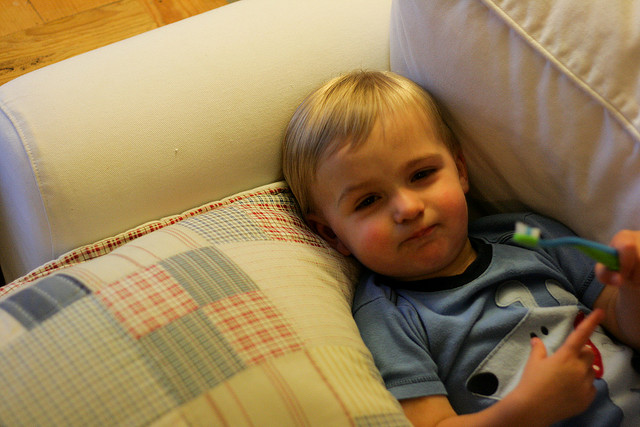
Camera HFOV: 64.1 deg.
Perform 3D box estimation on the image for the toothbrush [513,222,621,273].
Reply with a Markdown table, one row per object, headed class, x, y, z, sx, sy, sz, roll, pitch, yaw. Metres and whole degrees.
| class | x | y | z | sx | sy | sz | roll | pitch | yaw |
| --- | --- | --- | --- | --- | --- | --- | --- | --- | --- |
| toothbrush | 0.309 | 0.036 | 0.636 | 0.129 | 0.018 | 0.029 | 12 | 14 | 10 |
